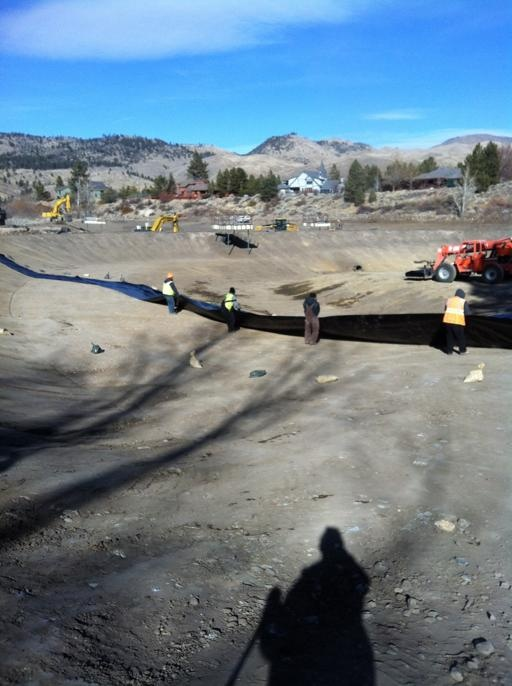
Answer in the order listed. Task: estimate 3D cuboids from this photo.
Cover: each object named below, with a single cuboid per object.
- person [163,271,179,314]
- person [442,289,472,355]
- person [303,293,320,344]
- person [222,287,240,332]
[{"bbox_3d":[-2.865,-1.696,20.356,0.474,1.373,1.412,-4,13,-8],"label":"person"},{"bbox_3d":[4.146,-0.432,12.501,0.492,1.481,1.301,2,13,17],"label":"person"},{"bbox_3d":[1.448,-0.625,15.342,0.385,1.391,0.933,-1,13,5],"label":"person"},{"bbox_3d":[-0.710,-0.967,17.578,0.456,1.349,1.223,-3,13,-2],"label":"person"}]
